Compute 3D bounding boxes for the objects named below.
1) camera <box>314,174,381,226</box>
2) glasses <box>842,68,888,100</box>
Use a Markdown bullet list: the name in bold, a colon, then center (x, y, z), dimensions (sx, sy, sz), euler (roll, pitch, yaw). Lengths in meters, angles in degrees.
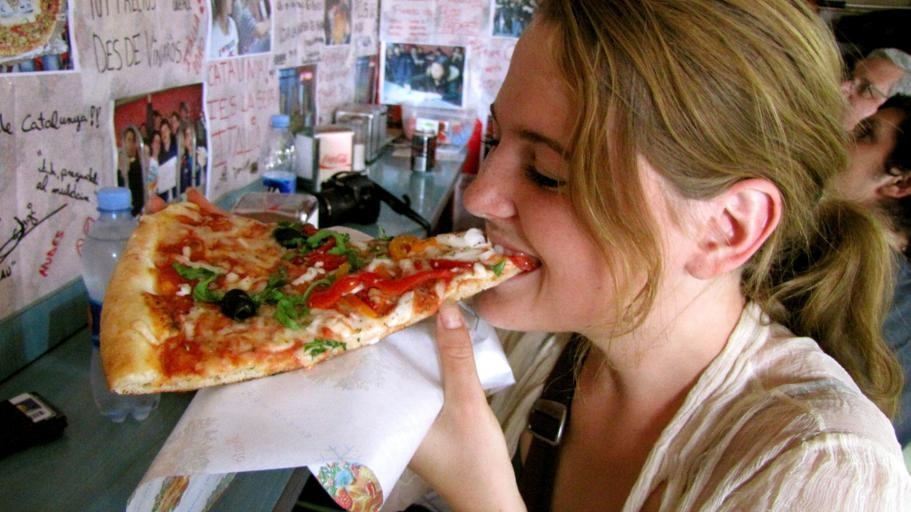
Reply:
- **camera**: center (-0.539, -0.281, 3.378), dimensions (0.287, 0.161, 0.305), euler (16, 26, 35)
- **glasses**: center (2.274, -0.934, 3.716), dimensions (0.193, 0.071, 0.179), euler (17, 14, -33)
